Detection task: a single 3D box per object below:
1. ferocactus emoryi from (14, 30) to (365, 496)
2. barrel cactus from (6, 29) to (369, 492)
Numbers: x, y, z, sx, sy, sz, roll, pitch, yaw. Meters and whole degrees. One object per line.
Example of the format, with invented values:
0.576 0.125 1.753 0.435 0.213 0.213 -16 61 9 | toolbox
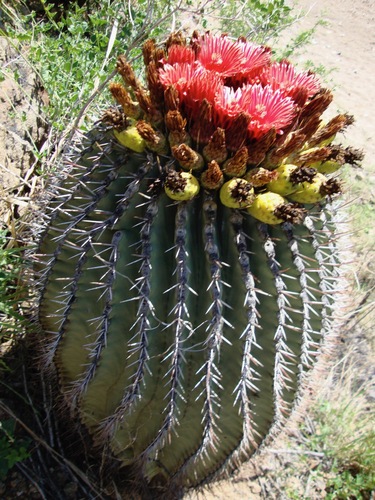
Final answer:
0.005 0.203 2.002 1.320 2.126 0.567 10 17 -4 | ferocactus emoryi
-0.062 -0.067 2.693 2.270 2.046 1.440 -7 26 -24 | barrel cactus
